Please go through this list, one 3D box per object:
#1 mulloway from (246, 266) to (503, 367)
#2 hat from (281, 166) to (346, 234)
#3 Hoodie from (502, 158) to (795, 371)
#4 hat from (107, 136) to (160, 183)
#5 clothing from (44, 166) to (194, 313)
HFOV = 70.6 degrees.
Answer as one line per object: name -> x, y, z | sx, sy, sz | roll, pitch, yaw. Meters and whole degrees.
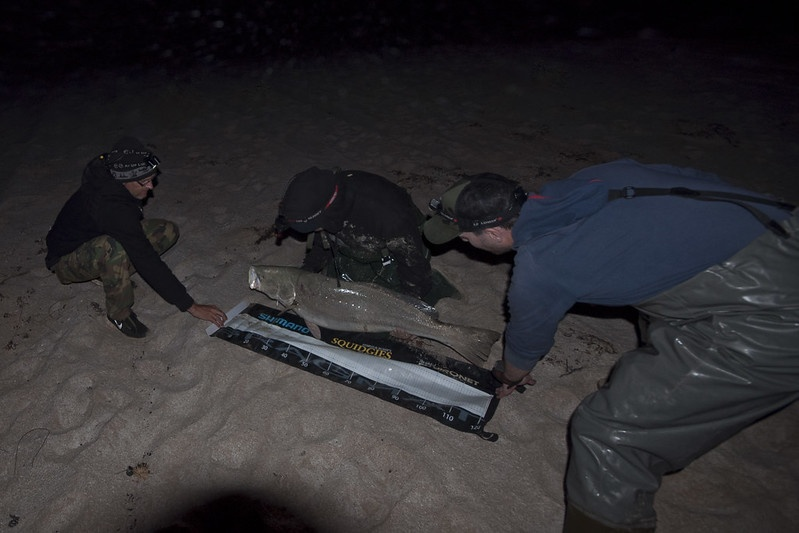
mulloway -> -0.382, 0.610, 6.498 | 2.103, 0.633, 0.466 | 14, 37, 3
hat -> -0.935, -0.691, 5.903 | 0.508, 0.480, 0.522 | 15, 47, 7
Hoodie -> 2.227, -0.109, 5.105 | 2.134, 0.708, 1.439 | -19, 57, 34
hat -> -3.043, -1.205, 6.349 | 0.519, 0.342, 0.435 | -18, 51, -22
clothing -> -3.688, -0.514, 6.828 | 1.350, 1.122, 2.750 | -14, 35, -35
